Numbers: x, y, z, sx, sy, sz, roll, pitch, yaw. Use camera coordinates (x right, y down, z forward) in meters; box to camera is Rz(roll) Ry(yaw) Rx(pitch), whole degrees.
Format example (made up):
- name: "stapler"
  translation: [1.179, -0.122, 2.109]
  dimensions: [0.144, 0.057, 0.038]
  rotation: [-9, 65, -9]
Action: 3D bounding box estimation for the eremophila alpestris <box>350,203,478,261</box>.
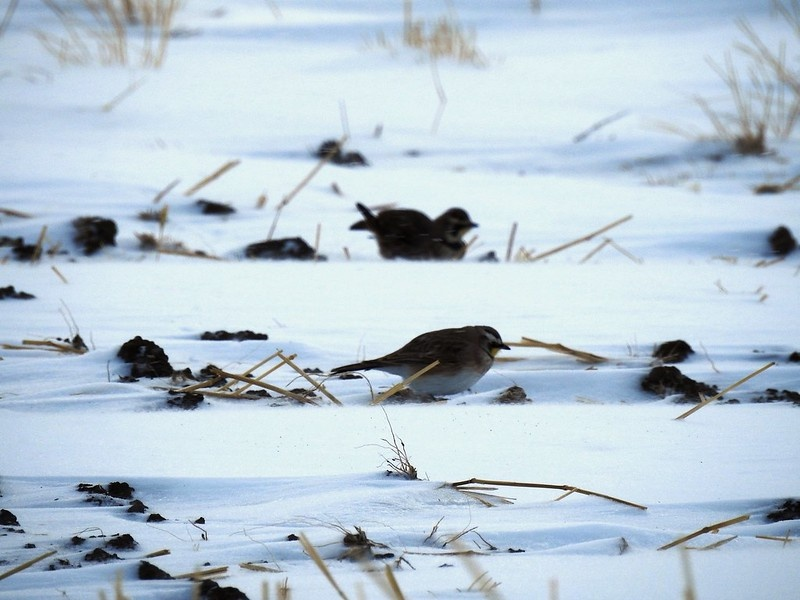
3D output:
- name: "eremophila alpestris"
  translation: [-0.023, -0.293, 6.051]
  dimensions: [0.835, 0.239, 0.272]
  rotation: [0, -5, -27]
